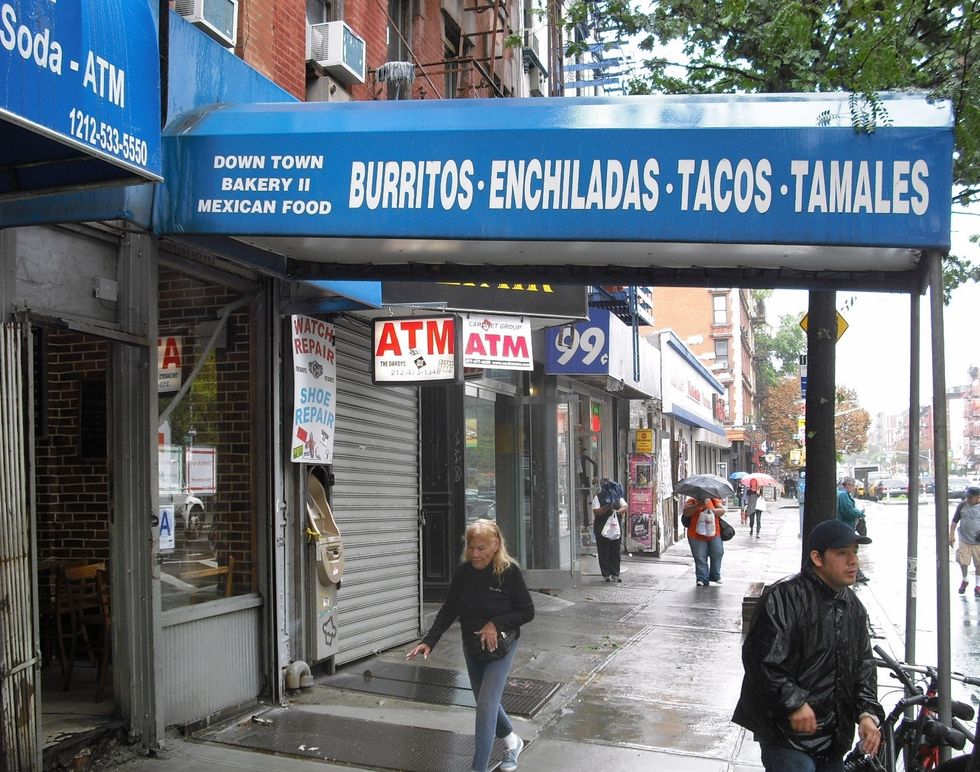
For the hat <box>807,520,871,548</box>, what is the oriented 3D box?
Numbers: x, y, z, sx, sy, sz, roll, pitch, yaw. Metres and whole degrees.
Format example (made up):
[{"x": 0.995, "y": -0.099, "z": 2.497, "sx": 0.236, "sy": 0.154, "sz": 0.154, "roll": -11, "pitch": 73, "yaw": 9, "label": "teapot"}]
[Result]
[{"x": 1.820, "y": 0.791, "z": 5.251, "sx": 0.221, "sy": 0.121, "sz": 0.172, "roll": -15, "pitch": -13, "yaw": 29, "label": "hat"}]

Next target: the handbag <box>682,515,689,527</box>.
[{"x": 3.360, "y": 2.319, "z": 17.044, "sx": 0.036, "sy": 0.168, "sz": 0.157, "roll": 2, "pitch": 12, "yaw": -15, "label": "handbag"}]

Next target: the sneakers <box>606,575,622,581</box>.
[{"x": 2.138, "y": 3.328, "z": 17.262, "sx": 0.098, "sy": 0.053, "sz": 0.145, "roll": 8, "pitch": 7, "yaw": 36, "label": "sneakers"}]

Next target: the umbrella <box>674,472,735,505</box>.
[{"x": 3.667, "y": 1.743, "z": 17.159, "sx": 0.928, "sy": 0.428, "sz": 1.441, "roll": 0, "pitch": -6, "yaw": 10, "label": "umbrella"}]

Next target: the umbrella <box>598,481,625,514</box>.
[{"x": 2.224, "y": 1.996, "z": 17.786, "sx": 0.352, "sy": 0.596, "sz": 0.199, "roll": -3, "pitch": -6, "yaw": 43, "label": "umbrella"}]

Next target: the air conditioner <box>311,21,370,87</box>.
[{"x": -1.730, "y": -3.740, "z": 11.079, "sx": 0.701, "sy": 0.624, "sz": 0.482, "roll": 3, "pitch": -6, "yaw": -18, "label": "air conditioner"}]

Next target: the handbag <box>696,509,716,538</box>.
[{"x": 3.673, "y": 2.302, "z": 16.854, "sx": 0.317, "sy": 0.466, "sz": 0.157, "roll": 0, "pitch": -5, "yaw": 7, "label": "handbag"}]

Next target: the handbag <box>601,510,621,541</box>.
[{"x": 2.098, "y": 2.448, "z": 17.306, "sx": 0.328, "sy": 0.412, "sz": 0.181, "roll": -4, "pitch": -7, "yaw": 39, "label": "handbag"}]
